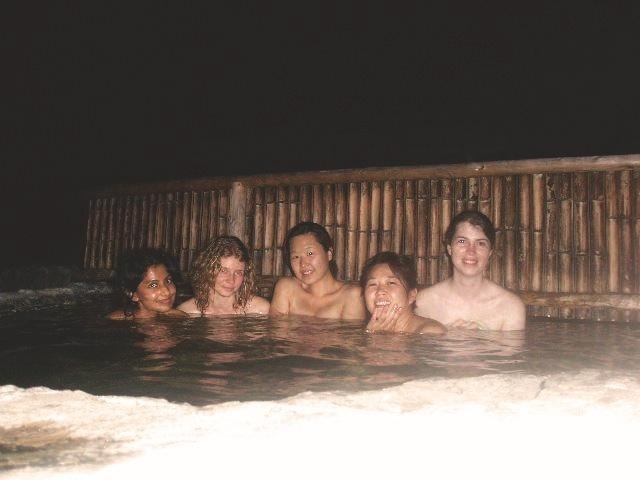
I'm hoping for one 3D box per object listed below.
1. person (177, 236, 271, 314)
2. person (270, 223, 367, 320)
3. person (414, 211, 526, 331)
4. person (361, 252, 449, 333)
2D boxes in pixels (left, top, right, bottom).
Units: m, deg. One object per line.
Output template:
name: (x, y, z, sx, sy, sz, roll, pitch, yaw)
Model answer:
person: (-0.889, 0.362, 5.266, 0.861, 0.707, 0.487, 3, 7, -32)
person: (-0.039, 0.353, 5.199, 0.877, 0.964, 0.754, -5, 3, 20)
person: (1.439, 0.290, 5.136, 1.141, 1.157, 0.642, 1, -3, 13)
person: (0.573, 0.462, 4.475, 0.916, 0.728, 0.775, -3, 0, 5)
